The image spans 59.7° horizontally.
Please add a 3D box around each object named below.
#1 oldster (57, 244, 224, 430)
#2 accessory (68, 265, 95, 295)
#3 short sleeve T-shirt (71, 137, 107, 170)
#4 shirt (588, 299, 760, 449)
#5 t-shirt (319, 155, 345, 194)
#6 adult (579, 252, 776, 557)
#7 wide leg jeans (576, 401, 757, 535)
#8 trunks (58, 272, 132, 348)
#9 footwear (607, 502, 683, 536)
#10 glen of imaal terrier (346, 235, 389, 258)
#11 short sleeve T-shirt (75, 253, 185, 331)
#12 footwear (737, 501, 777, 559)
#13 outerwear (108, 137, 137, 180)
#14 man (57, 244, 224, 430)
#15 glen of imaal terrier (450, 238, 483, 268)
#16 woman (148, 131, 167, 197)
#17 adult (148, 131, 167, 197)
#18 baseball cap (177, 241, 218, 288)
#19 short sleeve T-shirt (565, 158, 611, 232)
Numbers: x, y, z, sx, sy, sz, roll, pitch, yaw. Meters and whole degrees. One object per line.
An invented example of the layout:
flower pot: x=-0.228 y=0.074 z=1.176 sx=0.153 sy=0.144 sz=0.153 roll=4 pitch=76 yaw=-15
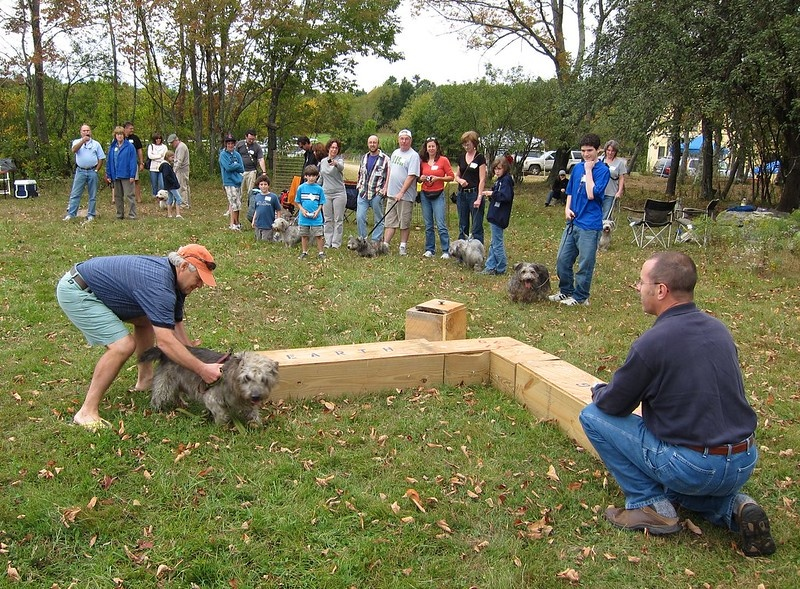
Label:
oldster: x=-2.559 y=0.152 z=7.217 sx=1.707 sy=1.882 sz=1.577 roll=8 pitch=17 yaw=-7
accessory: x=-2.980 y=-0.122 z=6.597 sx=0.183 sy=0.241 sz=0.237 roll=-33 pitch=-18 yaw=-9
short sleeve T-shirt: x=-6.595 y=-2.959 z=14.661 sx=0.497 sy=0.607 sz=0.536 roll=9 pitch=14 yaw=29
shirt: x=2.192 y=0.616 z=5.706 sx=1.227 sy=1.007 sz=1.055 roll=-10 pitch=14 yaw=-15
t-shirt: x=-1.279 y=-2.280 z=13.202 sx=0.647 sy=0.841 sz=0.606 roll=-2 pitch=10 yaw=-4
adult: x=2.392 y=0.855 z=5.869 sx=1.205 sy=2.281 sz=1.573 roll=-5 pitch=6 yaw=-40
wide leg jeans: x=2.144 y=1.381 z=5.694 sx=1.303 sy=0.898 sz=0.873 roll=2 pitch=5 yaw=-22
trunks: x=-2.883 y=0.142 z=6.619 sx=0.422 sy=0.728 sz=0.609 roll=-35 pitch=28 yaw=-22
footwear: x=2.027 y=1.792 z=5.771 sx=0.573 sy=0.295 sz=0.234 roll=6 pitch=3 yaw=23
glen of imaal terrier: x=-0.661 y=-0.897 z=13.217 sx=0.876 sy=0.440 sz=0.313 roll=-5 pitch=2 yaw=-25
short sleeve T-shirt: x=-2.479 y=-0.049 z=6.585 sx=0.964 sy=0.521 sz=0.572 roll=24 pitch=23 yaw=-1
footwear: x=2.792 y=1.864 z=5.473 sx=0.211 sy=0.481 sz=0.227 roll=-5 pitch=-7 yaw=12
outerwear: x=-6.020 y=-2.877 z=14.968 sx=0.604 sy=0.854 sz=0.469 roll=-1 pitch=12 yaw=-15
man: x=-2.533 y=0.284 z=6.874 sx=1.529 sy=1.751 sz=1.304 roll=4 pitch=14 yaw=-16
glen of imaal terrier: x=1.183 y=-0.735 z=12.462 sx=0.375 sy=0.493 sz=0.636 roll=-17 pitch=22 yaw=-31
woman: x=-5.701 y=-3.016 z=16.359 sx=0.504 sy=1.513 sz=0.448 roll=-8 pitch=31 yaw=-28
adult: x=-5.699 y=-3.021 z=16.365 sx=0.469 sy=1.505 sz=0.452 roll=-1 pitch=28 yaw=-17
baseball cap: x=-1.889 y=-0.320 z=6.579 sx=0.452 sy=0.248 sz=0.291 roll=39 pitch=2 yaw=-9
short sleeve T-shirt: x=2.609 y=-1.403 z=9.791 sx=0.314 sy=0.963 sz=0.621 roll=-7 pitch=15 yaw=-37
